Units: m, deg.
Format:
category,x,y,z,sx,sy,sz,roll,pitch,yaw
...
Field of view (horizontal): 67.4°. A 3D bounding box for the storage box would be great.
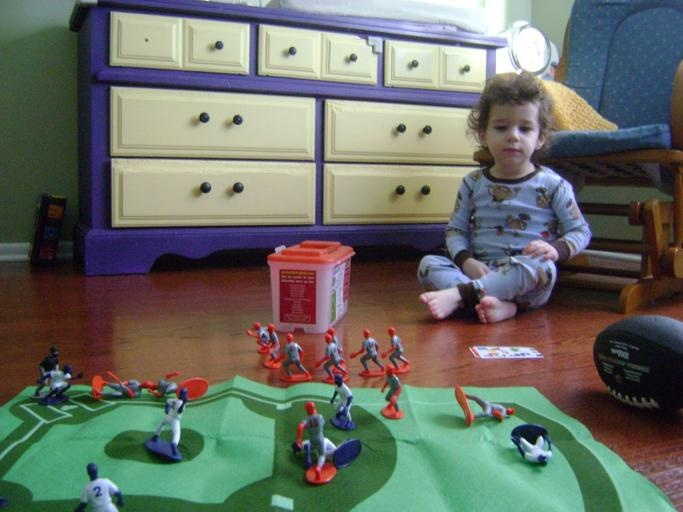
category,x,y,z,sx,sy,sz,roll,pitch,yaw
storage box,-0.071,0.091,1.469,0.187,0.201,0.270,3,8,14
